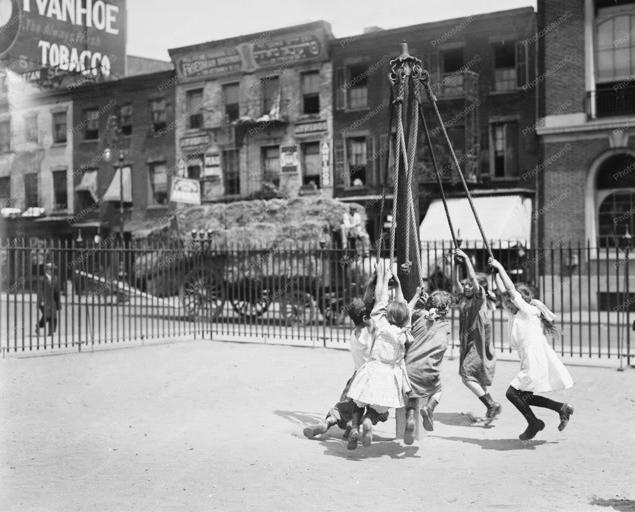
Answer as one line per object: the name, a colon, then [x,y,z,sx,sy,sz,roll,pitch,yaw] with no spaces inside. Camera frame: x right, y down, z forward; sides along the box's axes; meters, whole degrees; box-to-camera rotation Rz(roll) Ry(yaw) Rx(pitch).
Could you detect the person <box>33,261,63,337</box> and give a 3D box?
person: [-8.491,1.399,42.216,0.747,2.777,0.986,0,-1,26]
